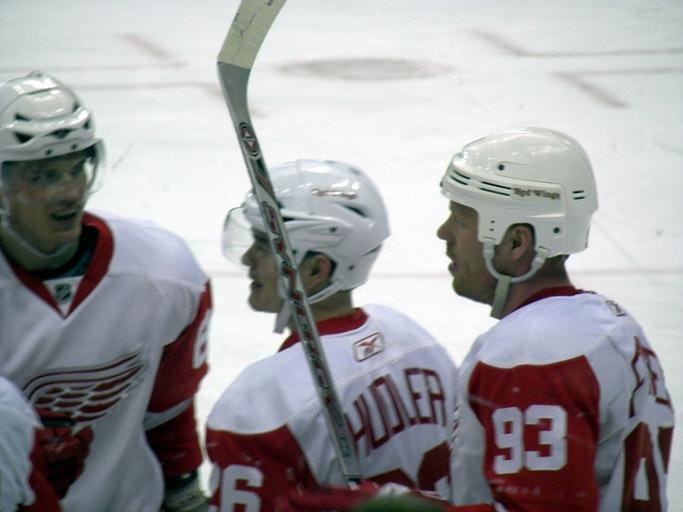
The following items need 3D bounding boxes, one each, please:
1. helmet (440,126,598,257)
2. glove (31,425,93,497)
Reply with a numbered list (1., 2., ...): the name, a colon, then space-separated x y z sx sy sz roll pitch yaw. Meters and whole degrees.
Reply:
1. helmet: 0.682 -0.274 5.936 0.634 0.403 0.443 7 19 5
2. glove: -1.079 0.780 6.043 0.238 0.094 0.298 -21 -12 -14
